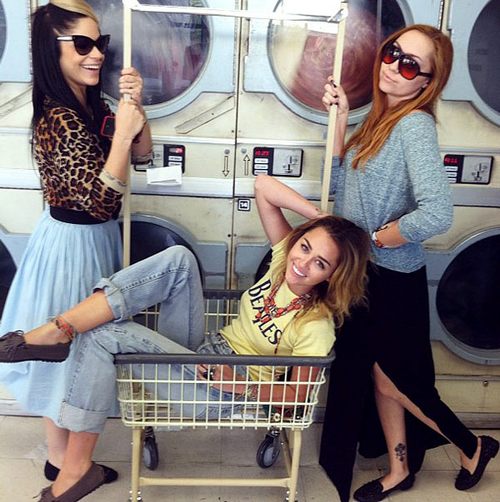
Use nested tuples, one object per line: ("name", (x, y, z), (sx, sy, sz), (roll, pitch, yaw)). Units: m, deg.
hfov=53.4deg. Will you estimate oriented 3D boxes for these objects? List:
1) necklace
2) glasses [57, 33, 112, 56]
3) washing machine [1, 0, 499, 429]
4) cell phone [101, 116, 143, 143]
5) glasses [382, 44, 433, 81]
("necklace", (0.102, 0.173, 1.734), (0.164, 0.041, 0.116), (-31, 55, -3))
("glasses", (-0.557, -0.714, 1.717), (0.113, 0.116, 0.039), (15, 108, 45))
("washing machine", (-0.136, -0.118, 2.359), (1.826, 0.927, 1.132), (0, 87, -1))
("cell phone", (-0.502, -0.451, 1.892), (0.130, 0.033, 0.116), (1, 72, 2))
("glasses", (0.510, -0.624, 1.616), (0.123, 0.144, 0.054), (35, 100, 28))
